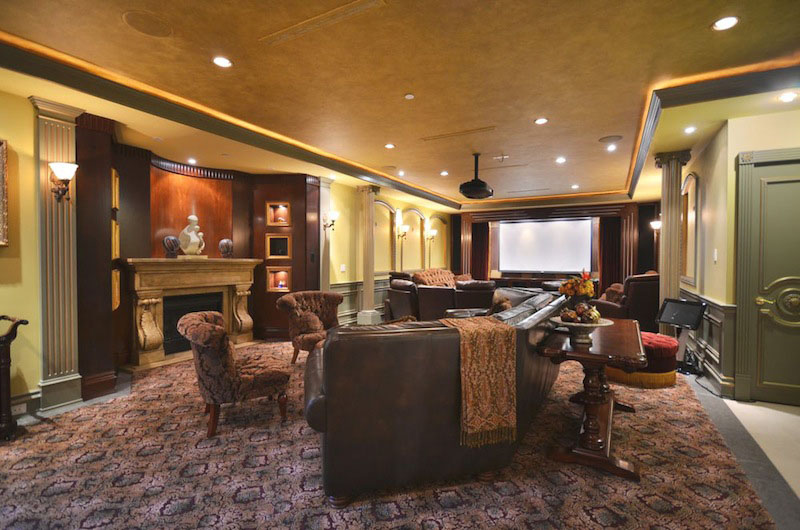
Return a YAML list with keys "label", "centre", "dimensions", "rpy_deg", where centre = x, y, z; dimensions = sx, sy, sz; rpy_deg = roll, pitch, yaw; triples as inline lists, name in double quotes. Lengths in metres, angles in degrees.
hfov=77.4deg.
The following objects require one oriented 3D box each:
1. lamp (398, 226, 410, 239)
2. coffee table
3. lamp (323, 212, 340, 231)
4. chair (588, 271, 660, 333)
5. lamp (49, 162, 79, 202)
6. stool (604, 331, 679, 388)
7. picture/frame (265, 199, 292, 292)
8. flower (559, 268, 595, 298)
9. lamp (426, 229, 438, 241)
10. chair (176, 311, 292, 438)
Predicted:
- label: "lamp"
  centre: [0.136, -0.780, 11.835]
  dimensions: [0.323, 0.352, 0.220]
  rpy_deg: [0, -1, 32]
- label: "coffee table"
  centre: [1.960, 1.109, 5.319]
  dimensions: [1.143, 1.445, 2.219]
  rpy_deg: [-1, 0, 29]
- label: "lamp"
  centre: [-1.242, -0.756, 9.001]
  dimensions: [0.339, 0.352, 0.229]
  rpy_deg: [0, 0, 28]
- label: "chair"
  centre: [3.801, 0.616, 8.454]
  dimensions: [1.300, 1.206, 0.941]
  rpy_deg: [-1, 0, -31]
- label: "lamp"
  centre: [-3.831, -0.923, 5.710]
  dimensions: [0.318, 0.453, 0.264]
  rpy_deg: [3, 18, 8]
- label: "stool"
  centre: [2.659, 1.048, 5.492]
  dimensions: [0.813, 0.533, 0.802]
  rpy_deg: [0, -3, 7]
- label: "picture/frame"
  centre: [-2.098, -0.298, 8.616]
  dimensions: [0.478, 1.419, 0.151]
  rpy_deg: [-3, 1, -8]
- label: "flower"
  centre: [1.783, 0.219, 5.166]
  dimensions: [0.342, 0.208, 0.388]
  rpy_deg: [2, -5, -7]
- label: "lamp"
  centre: [0.906, -0.784, 13.075]
  dimensions: [0.328, 0.356, 0.223]
  rpy_deg: [2, 3, 24]
- label: "chair"
  centre: [-1.906, 1.120, 5.677]
  dimensions: [1.335, 1.241, 1.140]
  rpy_deg: [0, 0, -25]
